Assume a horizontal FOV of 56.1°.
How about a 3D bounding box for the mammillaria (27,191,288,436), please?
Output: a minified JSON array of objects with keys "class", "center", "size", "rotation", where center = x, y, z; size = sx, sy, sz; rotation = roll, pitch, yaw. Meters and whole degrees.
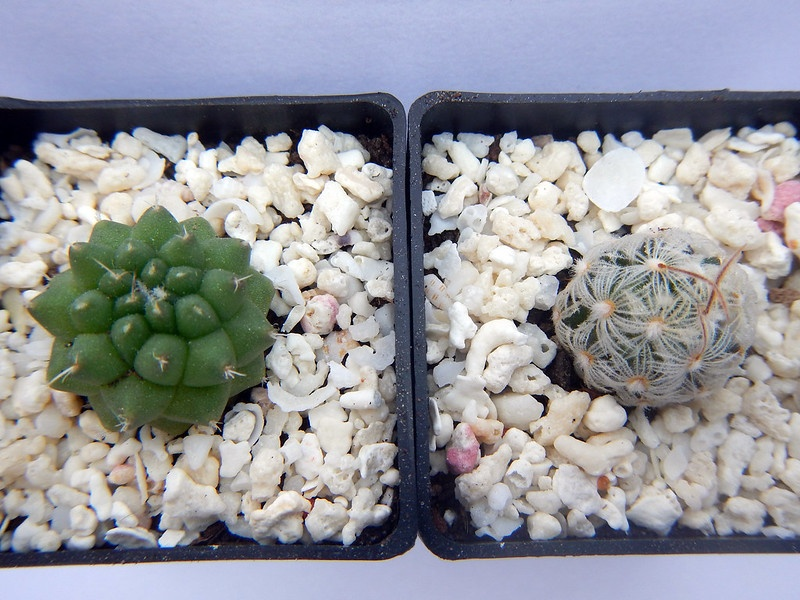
[{"class":"mammillaria","center":[-0.566,0.066,1.770],"size":[0.478,0.422,0.506],"rotation":[32,63,16]}]
